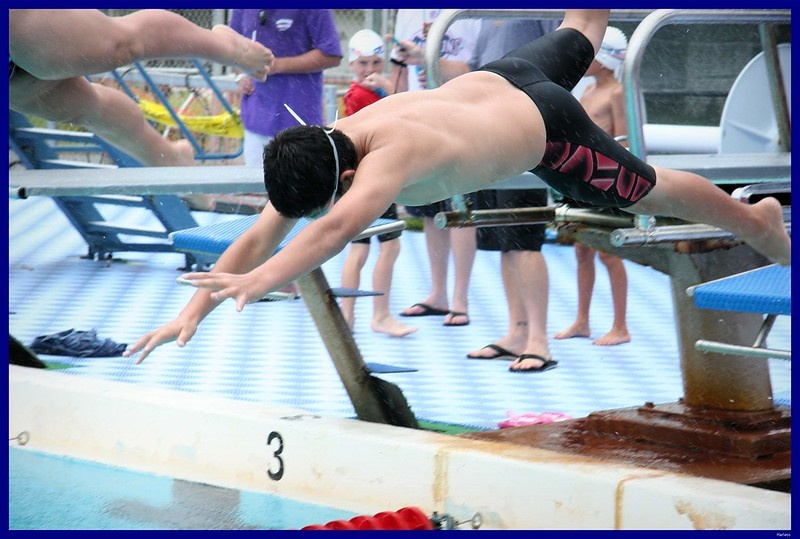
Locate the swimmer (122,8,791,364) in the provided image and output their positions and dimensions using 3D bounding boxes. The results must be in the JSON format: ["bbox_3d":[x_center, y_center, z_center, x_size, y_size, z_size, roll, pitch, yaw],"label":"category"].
[{"bbox_3d":[0.371,-0.547,2.745,2.446,1.139,0.723,-3,14,-22],"label":"swimmer"}]

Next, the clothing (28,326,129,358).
[{"bbox_3d":[-2.128,0.502,4.595,0.500,0.093,0.294,6,6,-5],"label":"clothing"}]

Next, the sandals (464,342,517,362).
[{"bbox_3d":[0.592,0.549,4.580,0.344,0.065,0.114,1,0,-1],"label":"sandals"}]

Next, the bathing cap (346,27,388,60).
[{"bbox_3d":[-0.233,-1.662,5.043,0.235,0.225,0.272,1,36,2],"label":"bathing cap"}]

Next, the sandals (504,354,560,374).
[{"bbox_3d":[0.825,0.585,4.339,0.287,0.058,0.110,-1,6,-17],"label":"sandals"}]

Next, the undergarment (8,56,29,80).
[{"bbox_3d":[-1.665,-0.865,2.995,0.089,0.084,0.077,-17,-13,32],"label":"undergarment"}]
